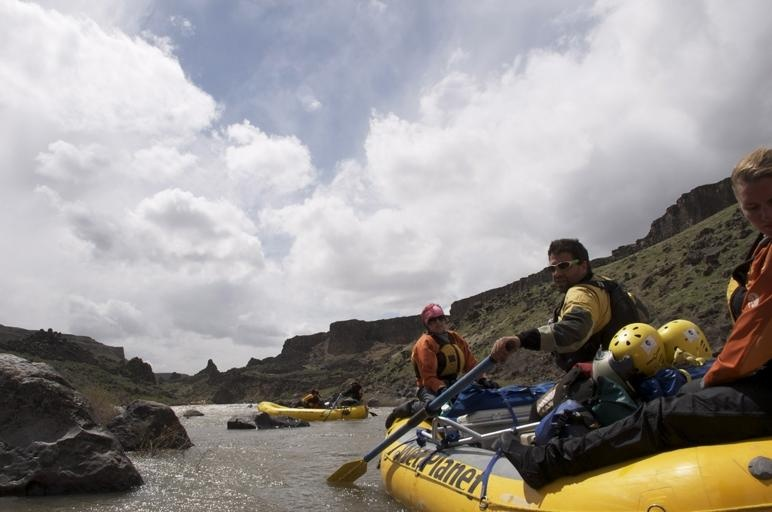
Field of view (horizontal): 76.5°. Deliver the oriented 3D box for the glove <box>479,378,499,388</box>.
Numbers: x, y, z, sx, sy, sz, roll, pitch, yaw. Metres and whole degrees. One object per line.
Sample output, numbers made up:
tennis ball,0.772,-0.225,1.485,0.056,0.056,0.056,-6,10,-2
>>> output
glove,2.025,2.490,9.652,0.344,0.136,0.348,16,-8,12
